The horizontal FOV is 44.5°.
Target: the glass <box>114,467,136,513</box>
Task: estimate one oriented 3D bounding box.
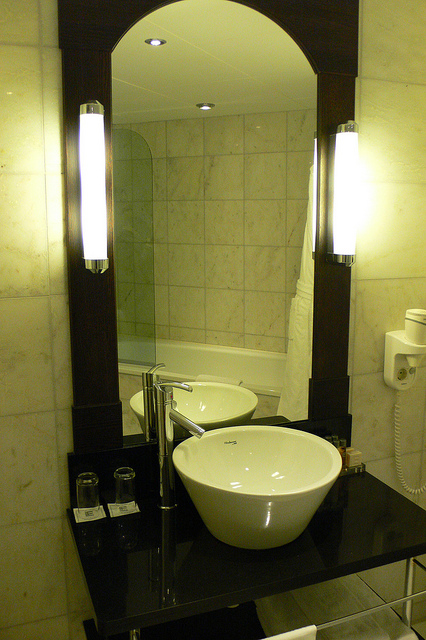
[{"bbox_3d":[-0.220,0.425,1.310,0.076,0.085,0.080,2,5,43],"label":"glass"}]

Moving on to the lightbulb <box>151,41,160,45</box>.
[{"bbox_3d":[-0.142,-0.678,1.278,0.012,0.008,0.003,2,12,-3],"label":"lightbulb"}]

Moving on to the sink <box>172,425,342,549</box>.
[{"bbox_3d":[0.102,0.399,1.230,0.369,0.190,0.396,10,13,40],"label":"sink"}]

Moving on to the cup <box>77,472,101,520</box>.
[{"bbox_3d":[-0.297,0.420,1.246,0.053,0.095,0.052,2,9,0],"label":"cup"}]

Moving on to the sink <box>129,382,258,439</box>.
[{"bbox_3d":[0.006,0.239,1.424,0.198,0.079,0.207,1,7,4],"label":"sink"}]
